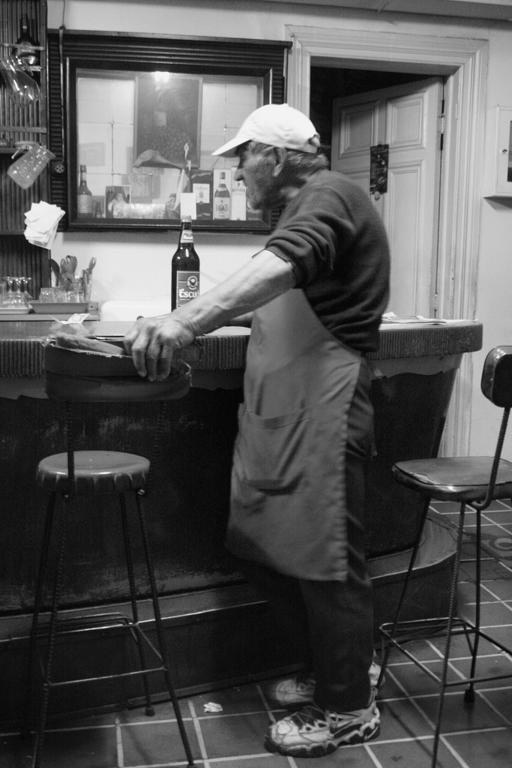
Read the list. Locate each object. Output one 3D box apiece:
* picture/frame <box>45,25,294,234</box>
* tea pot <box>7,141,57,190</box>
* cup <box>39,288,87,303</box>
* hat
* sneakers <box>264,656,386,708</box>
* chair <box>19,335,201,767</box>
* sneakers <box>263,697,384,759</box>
[{"bbox_3d":[-0.435,-1.240,3.932,1.114,1.009,0.072,1,2,-5],"label":"picture/frame"},{"bbox_3d":[-1.114,-1.078,3.852,0.225,0.226,0.199,-3,14,-17],"label":"tea pot"},{"bbox_3d":[-0.968,-0.437,3.834,0.149,0.056,0.113,1,-3,-7],"label":"cup"},{"bbox_3d":[0.010,-0.598,1.870,0.251,0.138,0.180,-2,-1,3],"label":"hat"},{"bbox_3d":[0.199,0.808,2.170,0.353,0.177,0.127,5,-9,-11],"label":"sneakers"},{"bbox_3d":[-0.351,0.371,1.771,0.421,1.089,0.638,0,14,-5],"label":"chair"},{"bbox_3d":[0.163,0.816,1.895,0.267,0.148,0.109,2,-4,-12],"label":"sneakers"}]
